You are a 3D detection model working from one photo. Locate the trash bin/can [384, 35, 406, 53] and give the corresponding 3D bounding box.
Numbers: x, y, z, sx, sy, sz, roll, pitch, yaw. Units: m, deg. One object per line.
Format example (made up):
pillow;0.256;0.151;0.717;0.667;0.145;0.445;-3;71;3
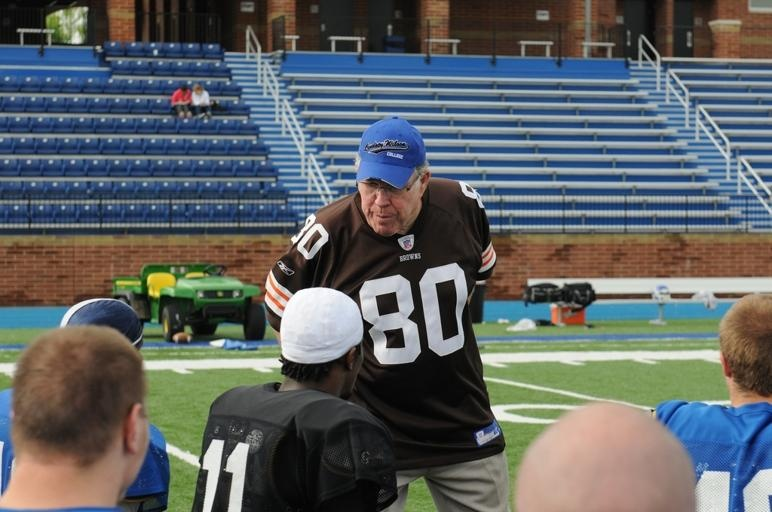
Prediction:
trash bin/can;0.305;-7.569;61.570;1.000;0.731;0.564;-2;9;-20
